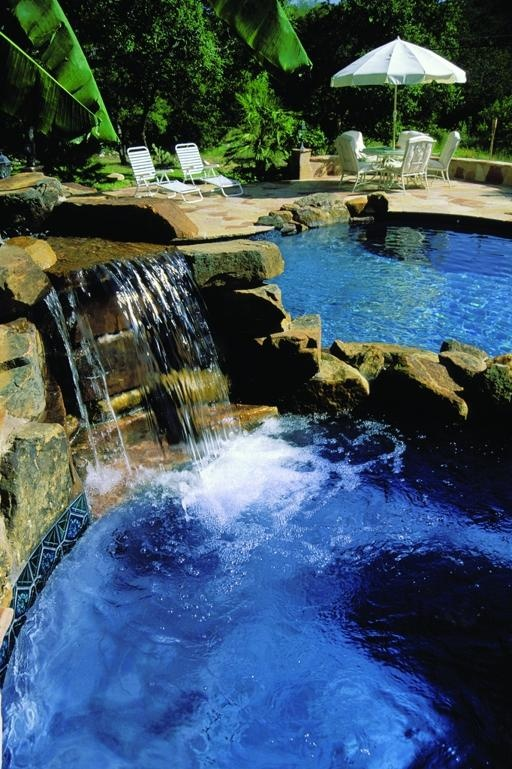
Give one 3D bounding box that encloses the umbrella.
[{"bbox_3d":[3.509,-7.146,13.525,2.214,1.866,2.560,5,34,11],"label":"umbrella"}]
